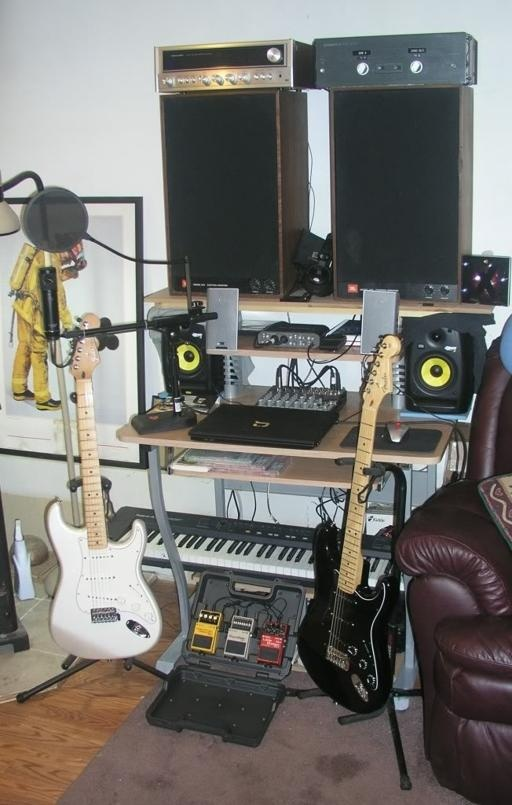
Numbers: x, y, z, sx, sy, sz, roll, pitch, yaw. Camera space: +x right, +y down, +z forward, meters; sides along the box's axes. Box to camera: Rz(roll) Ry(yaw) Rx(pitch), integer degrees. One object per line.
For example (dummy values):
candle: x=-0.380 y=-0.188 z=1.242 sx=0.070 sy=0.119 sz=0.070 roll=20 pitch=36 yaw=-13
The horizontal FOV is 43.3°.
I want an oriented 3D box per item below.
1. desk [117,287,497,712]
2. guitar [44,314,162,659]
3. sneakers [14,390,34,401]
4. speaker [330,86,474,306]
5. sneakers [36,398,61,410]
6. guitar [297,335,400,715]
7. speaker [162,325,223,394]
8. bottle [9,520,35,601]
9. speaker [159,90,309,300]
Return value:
desk: x=0.044 y=0.193 z=2.595 sx=1.601 sy=1.673 sz=1.187 roll=2 pitch=9 yaw=14
guitar: x=-0.498 y=0.340 z=2.074 sx=0.347 sy=1.091 sz=0.241 roll=-3 pitch=11 yaw=-9
sneakers: x=-1.054 y=-0.037 z=2.992 sx=0.110 sy=0.055 sz=0.041 roll=0 pitch=16 yaw=-5
speaker: x=0.455 y=-0.799 z=2.079 sx=0.412 sy=0.770 sz=0.512 roll=7 pitch=56 yaw=16
sneakers: x=-0.943 y=0.013 z=2.942 sx=0.124 sy=0.058 sz=0.057 roll=0 pitch=19 yaw=2
guitar: x=0.281 y=0.346 z=1.855 sx=0.223 sy=1.078 sz=0.364 roll=-6 pitch=12 yaw=-23
speaker: x=-0.232 y=-0.173 z=2.369 sx=0.175 sy=0.251 sz=0.160 roll=5 pitch=20 yaw=24
bottle: x=-1.034 y=0.672 z=2.857 sx=0.080 sy=0.355 sz=0.201 roll=-6 pitch=12 yaw=-22
speaker: x=-0.073 y=-0.724 z=2.203 sx=0.409 sy=0.649 sz=0.361 roll=1 pitch=24 yaw=9
